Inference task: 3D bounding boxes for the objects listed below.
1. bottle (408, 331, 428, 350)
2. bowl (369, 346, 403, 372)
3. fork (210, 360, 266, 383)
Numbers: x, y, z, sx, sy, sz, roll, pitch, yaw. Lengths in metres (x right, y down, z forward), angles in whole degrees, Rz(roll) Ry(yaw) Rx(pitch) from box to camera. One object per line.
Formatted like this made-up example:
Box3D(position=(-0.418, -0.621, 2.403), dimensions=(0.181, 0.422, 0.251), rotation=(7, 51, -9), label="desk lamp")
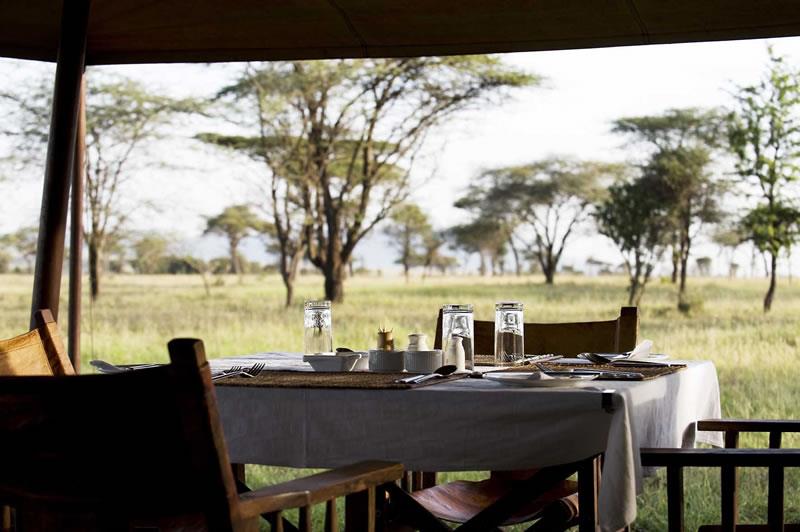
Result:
Box3D(position=(0.102, 0.411, 6.759), dimensions=(0.085, 0.090, 0.091), rotation=(1, -1, -8), label="bottle")
Box3D(position=(-0.065, 0.507, 6.670), dimensions=(0.128, 0.085, 0.130), rotation=(2, -1, 0), label="bowl")
Box3D(position=(-0.872, 0.570, 6.606), dimensions=(0.044, 0.050, 0.327), rotation=(5, 12, 34), label="fork")
